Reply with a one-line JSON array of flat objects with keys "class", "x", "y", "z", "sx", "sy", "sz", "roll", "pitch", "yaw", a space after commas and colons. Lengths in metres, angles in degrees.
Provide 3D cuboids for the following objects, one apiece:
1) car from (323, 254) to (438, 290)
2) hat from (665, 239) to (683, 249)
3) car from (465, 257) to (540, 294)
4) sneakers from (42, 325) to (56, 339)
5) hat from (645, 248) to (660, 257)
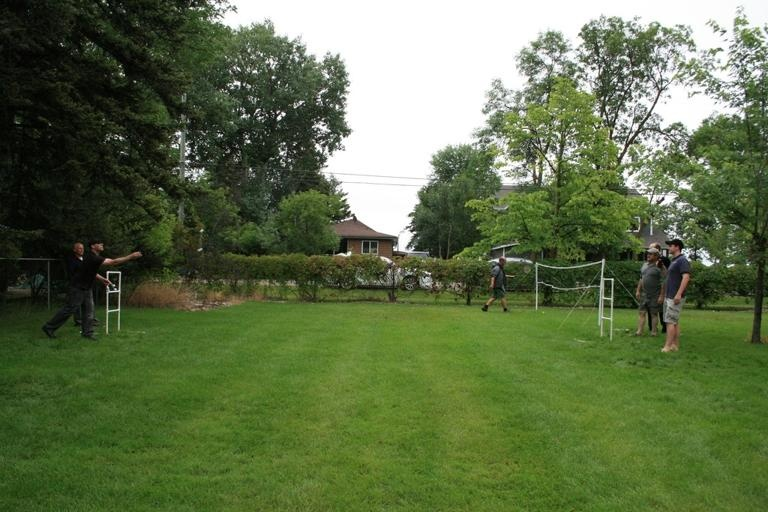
[{"class": "car", "x": 0.169, "y": 0.762, "z": 25.456, "sx": 3.874, "sy": 1.232, "sz": 1.759, "roll": 0, "pitch": -1, "yaw": -4}, {"class": "hat", "x": 7.129, "y": -0.327, "z": 14.510, "sx": 0.492, "sy": 0.265, "sz": 0.348, "roll": -1, "pitch": -2, "yaw": 38}, {"class": "car", "x": 5.812, "y": 0.805, "z": 27.166, "sx": 2.417, "sy": 1.065, "sz": 2.365, "roll": 0, "pitch": -5, "yaw": -3}, {"class": "sneakers", "x": -8.544, "y": 1.913, "z": 14.930, "sx": 0.131, "sy": 0.304, "sz": 0.102, "roll": -31, "pitch": 10, "yaw": 0}, {"class": "hat", "x": 7.250, "y": -0.131, "z": 15.623, "sx": 0.290, "sy": 0.145, "sz": 0.198, "roll": 15, "pitch": 0, "yaw": -5}]
